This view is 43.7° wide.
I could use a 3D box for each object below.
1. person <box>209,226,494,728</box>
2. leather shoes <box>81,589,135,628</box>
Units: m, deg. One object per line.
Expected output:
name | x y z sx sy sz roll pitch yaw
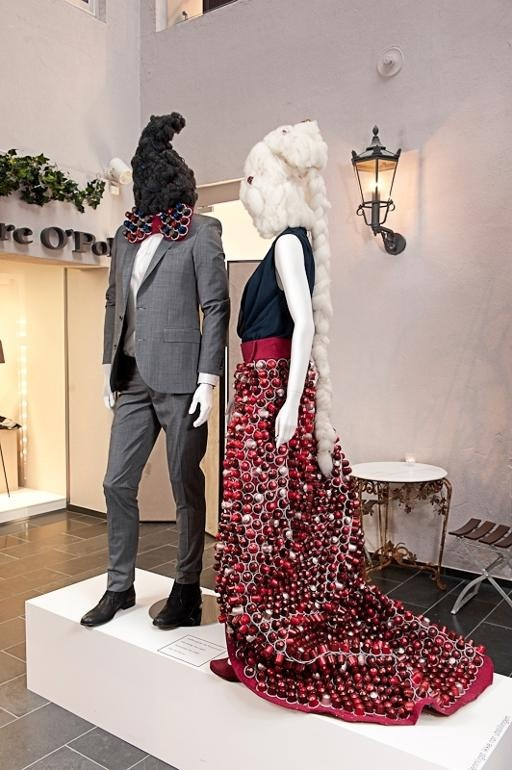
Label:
person | 0.176 0.227 1.634 0.671 1.198 0.501 -6 8 19
leather shoes | -0.490 0.747 2.136 0.069 0.105 0.250 -5 7 19
